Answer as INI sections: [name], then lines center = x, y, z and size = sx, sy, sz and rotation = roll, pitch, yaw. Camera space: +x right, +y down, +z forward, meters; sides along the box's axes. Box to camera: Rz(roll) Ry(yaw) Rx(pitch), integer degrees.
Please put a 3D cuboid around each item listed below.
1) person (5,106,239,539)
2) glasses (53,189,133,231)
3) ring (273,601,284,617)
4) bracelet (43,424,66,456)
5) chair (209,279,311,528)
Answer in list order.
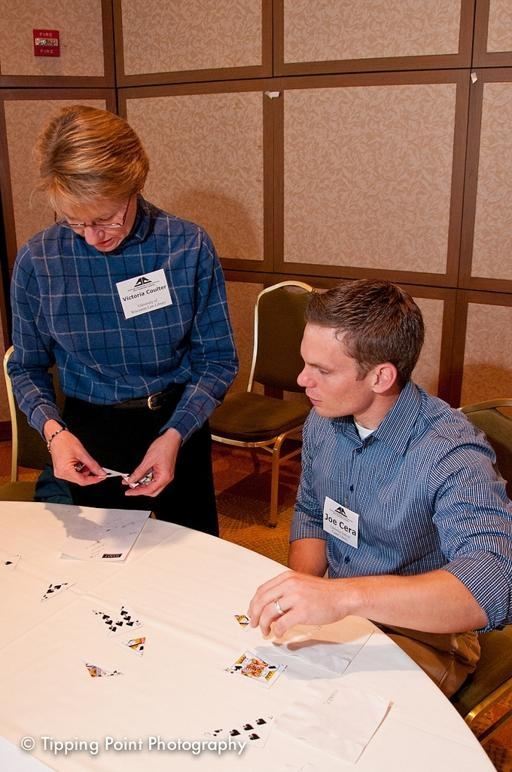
[person]
center = -0.301, -0.089, 1.577
size = 0.554, 1.133, 0.545
rotation = -9, 16, -31
[glasses]
center = -0.362, -0.383, 1.356
size = 0.161, 0.083, 0.144
rotation = -5, 14, -17
[ring]
center = 0.034, 0.340, 0.928
size = 0.022, 0.026, 0.007
rotation = 13, 19, 43
[bracelet]
center = -0.476, 0.122, 1.449
size = 0.049, 0.049, 0.076
rotation = -5, 14, -18
[chair]
center = 0.023, 0.047, 3.059
size = 0.683, 1.084, 0.703
rotation = 7, 18, 19
